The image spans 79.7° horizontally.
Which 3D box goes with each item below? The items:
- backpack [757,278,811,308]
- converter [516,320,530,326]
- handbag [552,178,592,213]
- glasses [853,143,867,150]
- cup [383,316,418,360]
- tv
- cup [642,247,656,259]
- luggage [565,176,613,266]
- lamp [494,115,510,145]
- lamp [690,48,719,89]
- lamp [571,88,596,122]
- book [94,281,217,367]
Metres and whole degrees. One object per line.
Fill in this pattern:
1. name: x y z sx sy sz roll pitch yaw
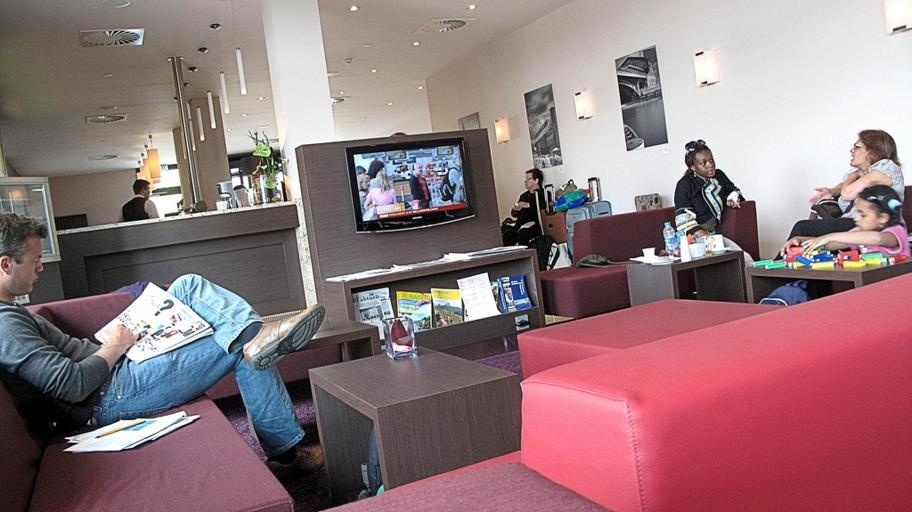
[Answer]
1. backpack: 2.263 0.256 3.790 0.326 0.278 0.220 -3 -1 11
2. converter: 0.610 0.619 5.062 0.095 0.050 0.036 -3 4 -26
3. handbag: 1.656 -0.903 8.336 0.421 0.244 0.592 -40 18 -30
4. glasses: 3.327 -0.913 4.532 0.050 0.056 0.199 -3 9 23
5. cup: -0.297 0.435 2.921 0.200 0.241 0.222 -3 -5 -12
6. tv: -0.470 -0.661 5.053 0.960 0.622 0.068 -9 5 -15
7. cup: 1.748 -0.028 4.981 0.133 0.089 0.118 3 -4 -38
8. luggage: 2.022 -0.507 8.217 0.678 1.224 0.615 -17 7 -19
9. lamp: 0.840 -2.270 9.886 0.098 0.365 0.394 -6 6 -38
10. lamp: 3.208 -2.406 7.027 0.154 0.437 0.262 -14 11 -38
11. lamp: 1.963 -2.336 8.460 0.102 0.457 0.303 -14 11 -36
12. book: -1.624 0.374 2.988 0.449 0.443 0.106 -45 -17 -28
